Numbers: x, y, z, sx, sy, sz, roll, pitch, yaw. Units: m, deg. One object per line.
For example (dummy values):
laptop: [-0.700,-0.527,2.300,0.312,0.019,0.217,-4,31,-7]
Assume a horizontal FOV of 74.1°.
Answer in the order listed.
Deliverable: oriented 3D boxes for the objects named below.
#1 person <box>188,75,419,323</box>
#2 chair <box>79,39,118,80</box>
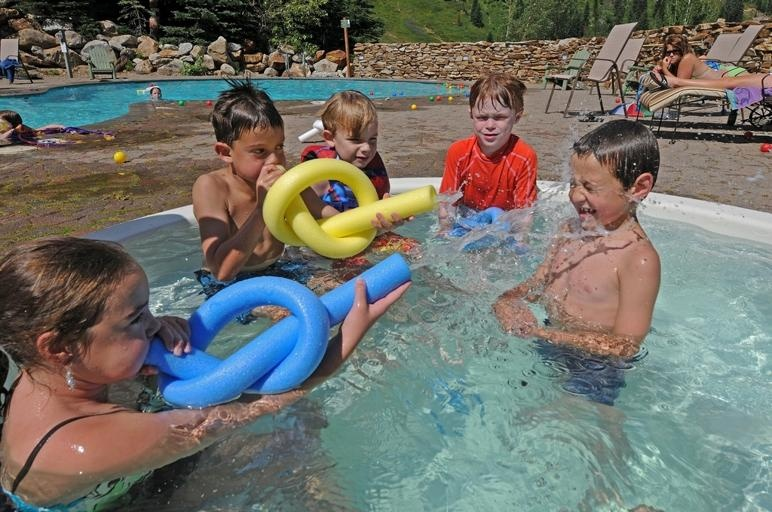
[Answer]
person: [-0.627,-0.350,3.476,1.603,1.200,0.888,3,15,12]
chair: [-10.997,-7.398,19.745,0.968,1.009,1.115,-7,40,-21]
